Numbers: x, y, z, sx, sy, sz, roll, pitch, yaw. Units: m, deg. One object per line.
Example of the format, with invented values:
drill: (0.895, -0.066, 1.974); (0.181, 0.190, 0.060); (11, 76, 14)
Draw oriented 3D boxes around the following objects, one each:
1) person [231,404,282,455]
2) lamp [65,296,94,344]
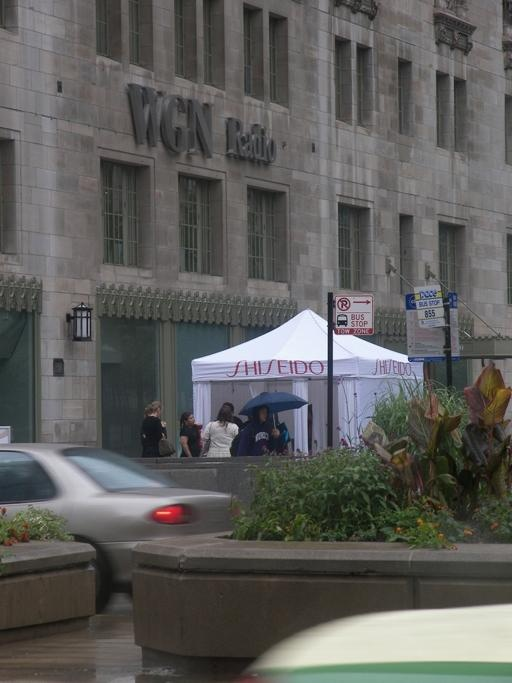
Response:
person: (0.019, 1.190, 18.743); (0.564, 1.061, 0.531); (3, -3, -23)
lamp: (-2.948, -0.277, 23.022); (0.447, 1.068, 0.552); (0, 1, 4)
